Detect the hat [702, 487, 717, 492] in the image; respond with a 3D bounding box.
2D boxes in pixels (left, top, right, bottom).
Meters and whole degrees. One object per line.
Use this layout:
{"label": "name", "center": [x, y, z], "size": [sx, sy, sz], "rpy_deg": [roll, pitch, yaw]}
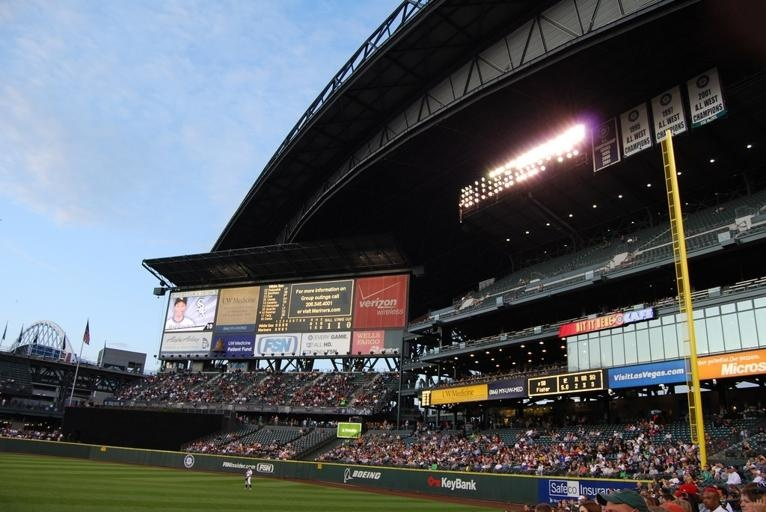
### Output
{"label": "hat", "center": [11.435, 8.193, 19.856], "size": [0.299, 0.082, 0.323], "rpy_deg": [3, -10, 17]}
